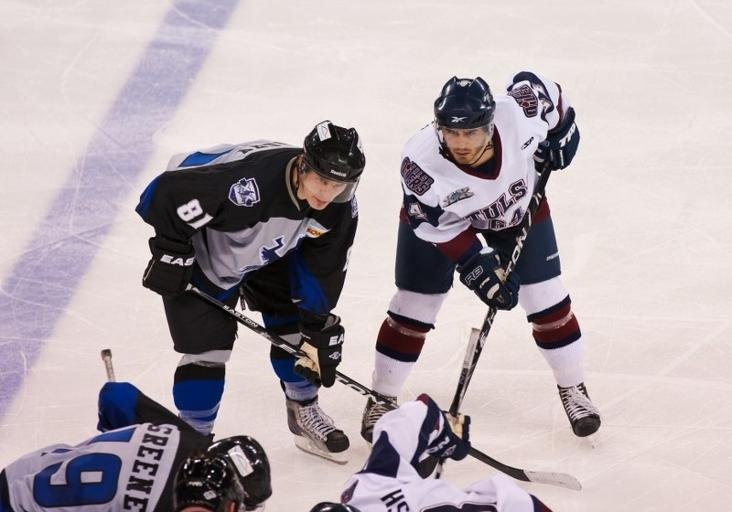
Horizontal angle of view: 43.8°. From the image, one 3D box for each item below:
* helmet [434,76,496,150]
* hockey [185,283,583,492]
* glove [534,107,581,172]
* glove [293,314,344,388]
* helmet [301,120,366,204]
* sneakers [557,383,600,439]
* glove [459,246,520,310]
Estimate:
[{"bbox_3d":[0.459,-0.710,4.260,0.253,0.285,0.291,2,6,5],"label":"helmet"},{"bbox_3d":[0.081,0.694,4.612,1.962,0.148,0.206,25,25,9],"label":"hockey"},{"bbox_3d":[0.989,-0.600,4.674,0.141,0.312,0.242,2,20,5],"label":"glove"},{"bbox_3d":[-0.231,0.486,4.593,0.284,0.343,0.142,0,25,0],"label":"glove"},{"bbox_3d":[-0.146,-0.427,4.224,0.294,0.304,0.344,-3,37,-36],"label":"helmet"},{"bbox_3d":[1.099,0.789,4.801,0.124,0.134,0.344,-23,34,7],"label":"sneakers"},{"bbox_3d":[0.602,0.087,4.596,0.343,0.262,0.152,44,5,-9],"label":"glove"}]
